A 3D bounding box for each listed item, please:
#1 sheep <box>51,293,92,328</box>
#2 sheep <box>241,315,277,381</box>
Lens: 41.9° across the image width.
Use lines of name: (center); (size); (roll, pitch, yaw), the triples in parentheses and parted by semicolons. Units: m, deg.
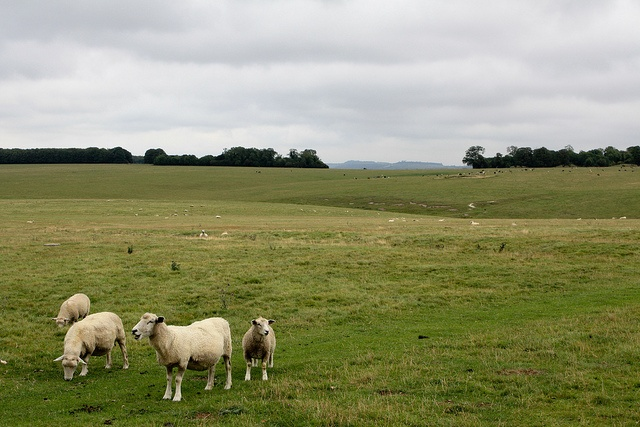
sheep: (-18.931, 7.580, 63.752); (2.107, 2.240, 4.127); (7, 21, 10)
sheep: (-4.447, 9.662, 60.040); (2.259, 4.430, 1.980); (0, 2, -5)
